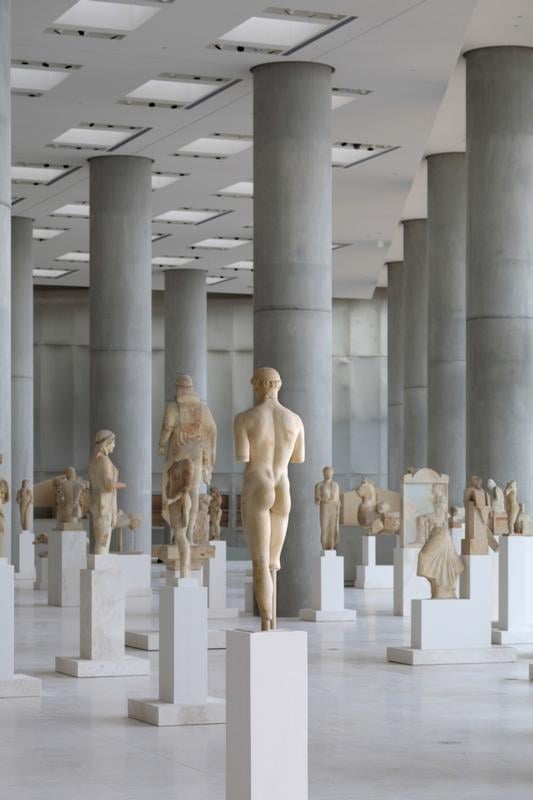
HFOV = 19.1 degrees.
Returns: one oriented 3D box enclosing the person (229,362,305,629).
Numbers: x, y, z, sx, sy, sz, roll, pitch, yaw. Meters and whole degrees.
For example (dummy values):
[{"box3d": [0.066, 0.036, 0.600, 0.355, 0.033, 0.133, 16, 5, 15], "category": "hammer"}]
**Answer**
[{"box3d": [-0.004, 0.578, 9.749, 0.428, 1.606, 1.080, 0, -4, 5], "category": "person"}]
